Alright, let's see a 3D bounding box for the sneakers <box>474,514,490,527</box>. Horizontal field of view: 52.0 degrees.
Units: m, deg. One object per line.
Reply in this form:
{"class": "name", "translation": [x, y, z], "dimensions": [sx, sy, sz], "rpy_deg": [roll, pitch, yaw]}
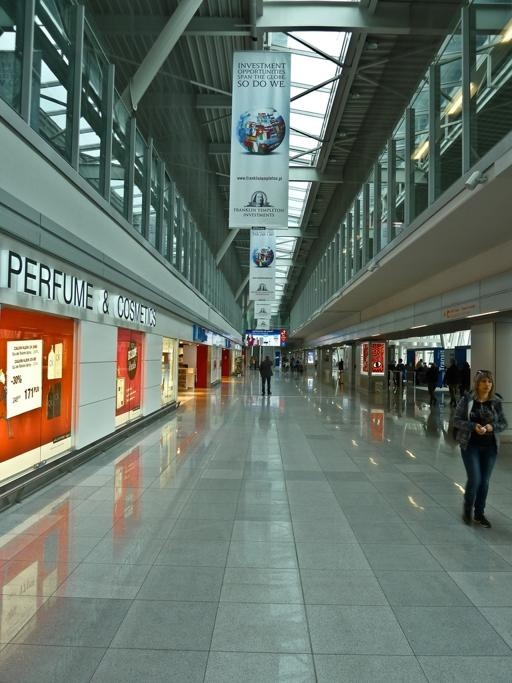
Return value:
{"class": "sneakers", "translation": [2.124, 1.691, 4.896], "dimensions": [0.054, 0.075, 0.170], "rpy_deg": [0, -11, 3]}

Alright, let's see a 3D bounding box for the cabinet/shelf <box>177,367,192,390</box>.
{"class": "cabinet/shelf", "translation": [-3.350, 1.870, 25.316], "dimensions": [0.940, 1.218, 0.787], "rpy_deg": [1, -6, -7]}

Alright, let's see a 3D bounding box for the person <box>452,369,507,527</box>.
{"class": "person", "translation": [2.095, 1.009, 4.917], "dimensions": [0.406, 1.430, 0.527], "rpy_deg": [1, -3, -22]}

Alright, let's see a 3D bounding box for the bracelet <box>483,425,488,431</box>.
{"class": "bracelet", "translation": [2.087, 0.804, 4.743], "dimensions": [0.035, 0.050, 0.055], "rpy_deg": [2, -33, 11]}
